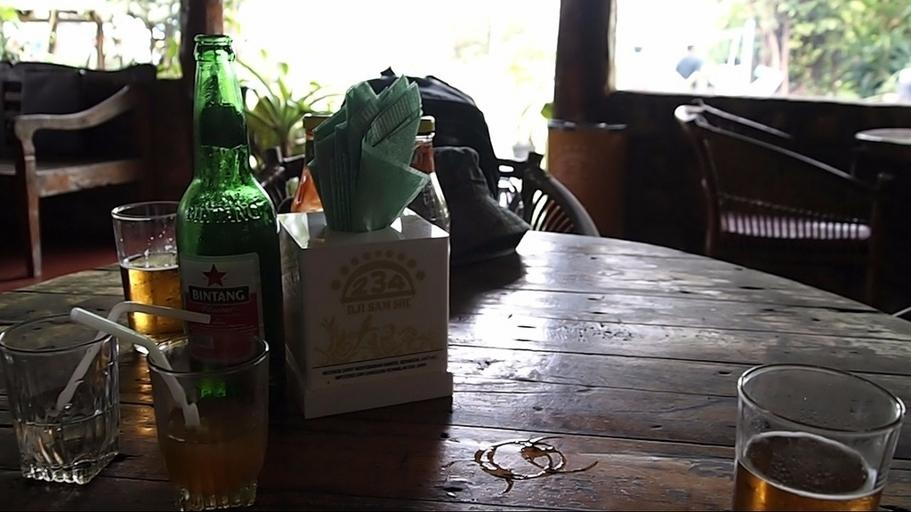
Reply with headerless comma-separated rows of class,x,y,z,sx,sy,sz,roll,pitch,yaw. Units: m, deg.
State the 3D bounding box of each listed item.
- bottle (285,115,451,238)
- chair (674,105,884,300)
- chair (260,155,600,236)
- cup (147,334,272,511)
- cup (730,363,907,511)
bottle,-0.199,-0.197,1.660,0.313,0.271,0.283,-9,15,-44
chair,1.283,-0.305,3.488,0.978,1.019,0.770,-2,19,3
chair,0.078,-0.207,2.519,0.714,0.210,0.513,7,11,24
cup,-0.441,0.310,1.309,0.202,0.297,0.107,-4,15,-20
cup,0.642,0.330,1.271,0.187,0.252,0.180,-1,27,0
